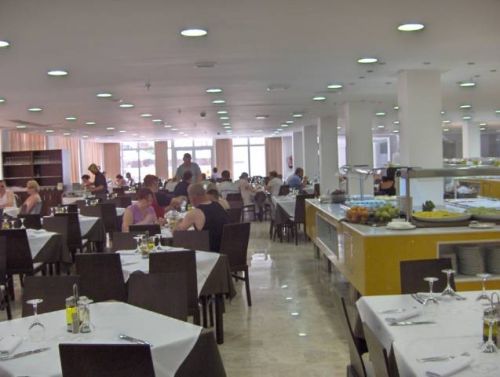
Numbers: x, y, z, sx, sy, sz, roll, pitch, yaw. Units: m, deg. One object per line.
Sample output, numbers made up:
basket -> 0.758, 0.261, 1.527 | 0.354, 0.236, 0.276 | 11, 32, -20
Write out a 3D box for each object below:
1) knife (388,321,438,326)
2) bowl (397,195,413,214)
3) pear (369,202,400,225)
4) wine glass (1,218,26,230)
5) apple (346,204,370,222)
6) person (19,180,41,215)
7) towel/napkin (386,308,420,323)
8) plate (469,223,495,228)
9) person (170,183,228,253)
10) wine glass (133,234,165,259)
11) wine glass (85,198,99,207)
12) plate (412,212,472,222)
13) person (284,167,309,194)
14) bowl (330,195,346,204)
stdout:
knife -> 0.967, 0.794, 2.639 | 0.277, 0.005, 0.083 | -1, 9, -2
bowl -> 1.627, 0.172, 4.662 | 0.173, 0.187, 0.164 | 1, 1, 0
pear -> 1.414, 0.247, 4.654 | 0.193, 0.138, 0.262 | -7, 10, 10
wine glass -> -3.289, 0.493, 6.195 | 0.145, 0.139, 0.078 | 1, 11, -15
apple -> 1.162, 0.259, 4.752 | 0.159, 0.111, 0.210 | -6, -4, 25
person -> -4.046, 0.268, 8.170 | 0.419, 0.783, 0.402 | 3, 4, -30
towel/napkin -> 0.937, 0.766, 2.714 | 0.297, 0.043, 0.080 | -4, 4, -36
plate -> 2.263, 0.360, 4.293 | 0.277, 0.048, 0.193 | 1, -1, 4
person -> -0.616, 0.362, 5.344 | 0.579, 0.996, 0.557 | -14, 22, -39
wine glass -> -0.998, 0.548, 4.331 | 0.235, 0.093, 0.244 | 1, 3, 29
wine glass -> -3.080, 0.278, 8.687 | 0.131, 0.133, 0.240 | -1, -7, -26
plate -> 1.976, 0.284, 4.585 | 0.537, 0.107, 0.324 | 1, -1, -17
person -> 1.116, -0.036, 10.192 | 0.458, 0.823, 0.350 | -6, 8, -12
bowl -> 1.297, 0.156, 6.475 | 0.223, 0.137, 0.167 | 1, -1, 11
